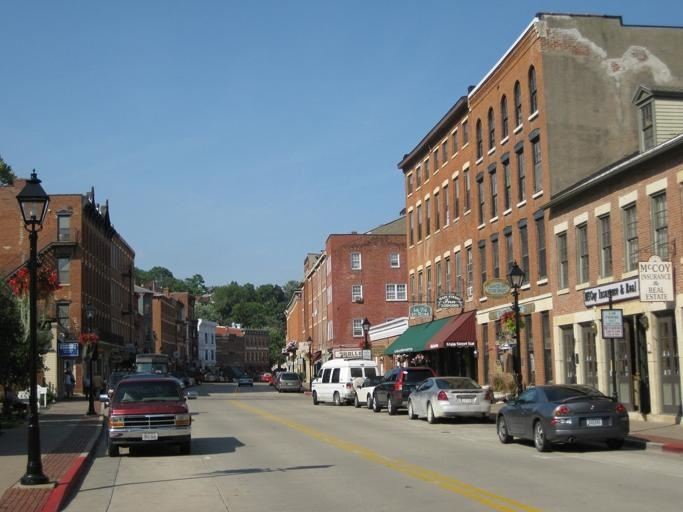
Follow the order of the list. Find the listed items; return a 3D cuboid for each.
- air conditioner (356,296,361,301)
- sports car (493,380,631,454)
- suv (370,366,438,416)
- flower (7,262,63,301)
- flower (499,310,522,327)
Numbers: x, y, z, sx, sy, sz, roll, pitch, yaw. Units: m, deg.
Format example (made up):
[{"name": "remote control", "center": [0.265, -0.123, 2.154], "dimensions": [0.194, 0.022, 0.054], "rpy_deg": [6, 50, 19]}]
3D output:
[{"name": "air conditioner", "center": [1.508, 3.924, 81.304], "dimensions": [0.570, 0.419, 0.147], "rpy_deg": [-3, -13, 8]}, {"name": "sports car", "center": [6.277, 4.733, 26.111], "dimensions": [2.415, 1.648, 4.855], "rpy_deg": [0, -8, -12]}, {"name": "suv", "center": [2.750, 5.931, 39.567], "dimensions": [2.420, 2.343, 2.797], "rpy_deg": [0, -7, -6]}, {"name": "flower", "center": [-11.032, 0.904, 31.883], "dimensions": [1.597, 1.099, 1.627], "rpy_deg": [2, -5, -32]}, {"name": "flower", "center": [7.425, 2.759, 38.444], "dimensions": [0.753, 0.881, 0.807], "rpy_deg": [0, -1, -19]}]
